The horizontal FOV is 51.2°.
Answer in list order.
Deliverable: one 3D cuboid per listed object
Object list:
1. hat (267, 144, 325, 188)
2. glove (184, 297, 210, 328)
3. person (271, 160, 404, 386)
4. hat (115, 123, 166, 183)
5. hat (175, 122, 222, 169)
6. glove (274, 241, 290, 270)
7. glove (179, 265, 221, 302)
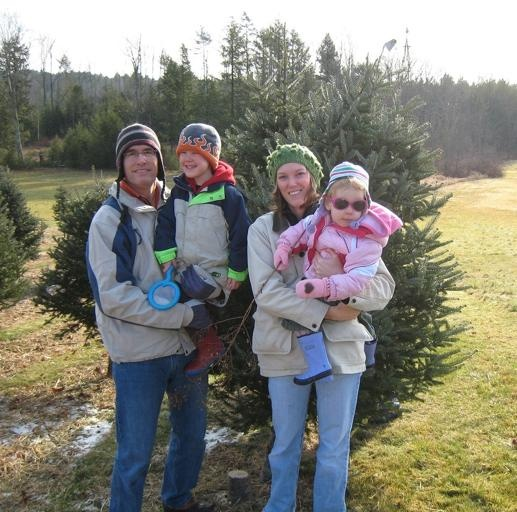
[{"bbox_3d":[0.240,-0.598,3.730,0.334,0.167,0.331,1,1,0],"label":"hat"},{"bbox_3d":[-0.465,0.360,3.922,0.175,0.293,0.306,-1,2,-17],"label":"glove"},{"bbox_3d":[0.490,-0.146,3.402,0.809,0.879,0.487,-1,10,11],"label":"person"},{"bbox_3d":[-0.910,-0.796,4.033,0.439,0.546,0.423,-1,-2,-15],"label":"hat"},{"bbox_3d":[-0.405,-0.822,4.019,0.276,0.304,0.358,5,-10,22],"label":"hat"},{"bbox_3d":[0.156,0.000,3.523,0.113,0.152,0.068,19,-27,10],"label":"glove"},{"bbox_3d":[-0.410,0.160,3.816,0.275,0.226,0.129,27,57,27],"label":"glove"}]
